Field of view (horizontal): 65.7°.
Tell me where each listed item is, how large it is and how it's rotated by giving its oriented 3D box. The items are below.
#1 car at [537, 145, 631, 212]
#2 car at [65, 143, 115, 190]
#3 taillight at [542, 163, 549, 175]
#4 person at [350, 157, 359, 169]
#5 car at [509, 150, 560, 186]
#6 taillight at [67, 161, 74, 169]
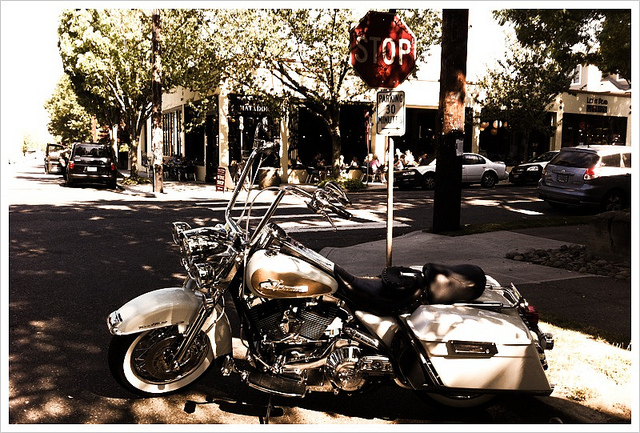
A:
[{"bbox_3d":[8.448,-1.187,15.937,2.827,1.391,1.629,-9,12,-23],"label":"car"},{"bbox_3d":[-11.914,-2.636,25.826,1.737,1.657,3.209,1,12,-16],"label":"car"},{"bbox_3d":[7.711,-1.572,16.926,0.065,0.223,0.215,17,1,-11],"label":"taillight"},{"bbox_3d":[2.299,-3.553,33.139,0.224,0.740,0.502,-2,6,27],"label":"person"},{"bbox_3d":[11.905,-2.632,28.416,4.508,1.851,2.094,-5,5,-19],"label":"car"},{"bbox_3d":[-12.733,-2.646,25.423,0.205,0.224,0.381,23,2,-10],"label":"taillight"}]
